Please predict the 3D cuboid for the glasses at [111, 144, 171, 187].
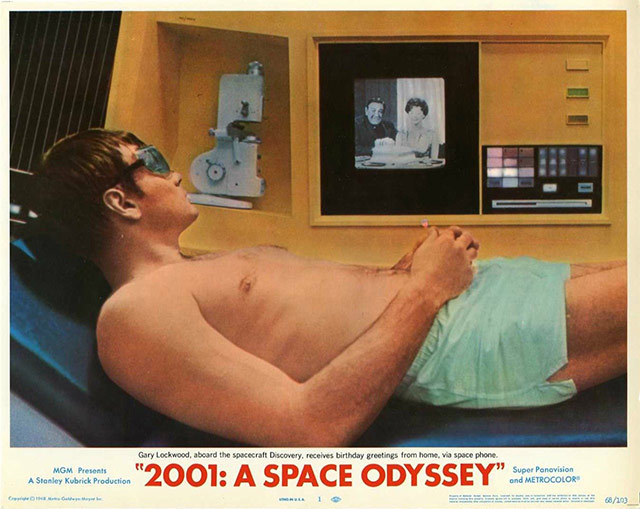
[{"bbox_3d":[-0.753,-0.375,3.205,0.213,0.101,0.178,-19,15,15],"label":"glasses"}]
